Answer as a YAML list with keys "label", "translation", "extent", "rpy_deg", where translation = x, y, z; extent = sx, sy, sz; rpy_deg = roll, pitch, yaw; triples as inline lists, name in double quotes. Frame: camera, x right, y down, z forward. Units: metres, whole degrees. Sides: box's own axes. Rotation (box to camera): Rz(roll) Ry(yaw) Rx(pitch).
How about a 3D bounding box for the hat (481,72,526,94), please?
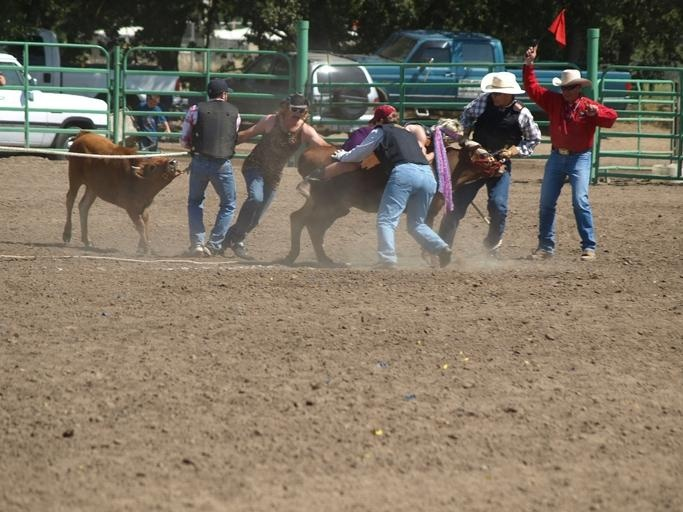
- label: "hat"
  translation: [1.729, -1.834, 8.944]
  extent: [0.396, 0.125, 0.346]
  rpy_deg: [2, 29, -1]

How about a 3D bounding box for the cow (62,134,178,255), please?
- label: "cow"
  translation: [-2.654, -0.710, 9.810]
  extent: [1.633, 1.329, 0.656]
  rpy_deg: [12, 17, 38]

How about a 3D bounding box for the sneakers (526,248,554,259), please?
- label: "sneakers"
  translation: [2.248, -0.027, 9.516]
  extent: [0.331, 0.204, 0.112]
  rpy_deg: [3, 2, -2]

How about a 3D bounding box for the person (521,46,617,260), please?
- label: "person"
  translation: [2.423, -1.092, 9.153]
  extent: [0.985, 2.258, 0.454]
  rpy_deg: [6, 15, 15]

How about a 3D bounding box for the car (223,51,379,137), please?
- label: "car"
  translation: [-0.255, -3.317, 16.852]
  extent: [1.989, 1.526, 3.400]
  rpy_deg: [11, 18, 40]

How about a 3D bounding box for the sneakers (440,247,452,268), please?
- label: "sneakers"
  translation: [1.055, 0.003, 8.526]
  extent: [0.133, 0.196, 0.079]
  rpy_deg: [17, 39, -8]

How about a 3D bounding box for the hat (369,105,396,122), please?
- label: "hat"
  translation: [0.415, -1.425, 8.439]
  extent: [0.157, 0.113, 0.225]
  rpy_deg: [-20, 16, -38]

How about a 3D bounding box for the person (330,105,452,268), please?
- label: "person"
  translation: [0.556, -0.654, 8.689]
  extent: [1.408, 1.572, 0.838]
  rpy_deg: [1, -6, 33]

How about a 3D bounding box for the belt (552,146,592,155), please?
- label: "belt"
  translation: [2.496, -1.139, 9.158]
  extent: [0.412, 0.077, 0.194]
  rpy_deg: [7, 14, 21]

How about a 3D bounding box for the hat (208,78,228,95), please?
- label: "hat"
  translation: [-1.357, -1.836, 9.226]
  extent: [0.208, 0.186, 0.290]
  rpy_deg: [-1, 13, -10]
